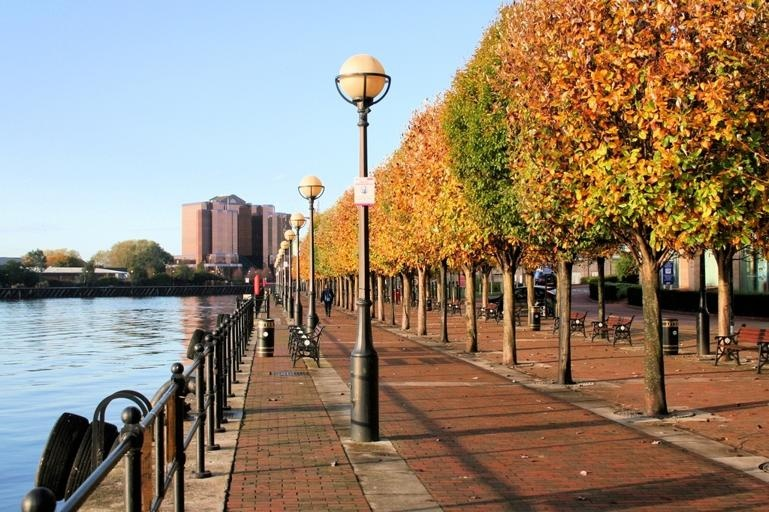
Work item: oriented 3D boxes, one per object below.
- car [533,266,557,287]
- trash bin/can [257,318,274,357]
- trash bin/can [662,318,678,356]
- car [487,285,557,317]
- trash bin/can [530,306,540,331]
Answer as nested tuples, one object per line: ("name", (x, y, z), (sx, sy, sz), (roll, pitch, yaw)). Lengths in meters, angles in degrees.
("car", (12.665, 1.645, 67.874), (1.571, 1.332, 3.011), (2, 6, 28))
("trash bin/can", (-3.678, 2.539, 26.653), (0.417, 1.182, 0.908), (0, -2, -14))
("trash bin/can", (8.716, 2.462, 26.169), (0.435, 1.097, 0.613), (-1, -2, 16))
("car", (8.077, 2.540, 50.485), (3.933, 1.919, 2.439), (1, -2, 8))
("trash bin/can", (6.550, 2.692, 37.134), (0.317, 1.044, 0.653), (-1, -2, 4))
